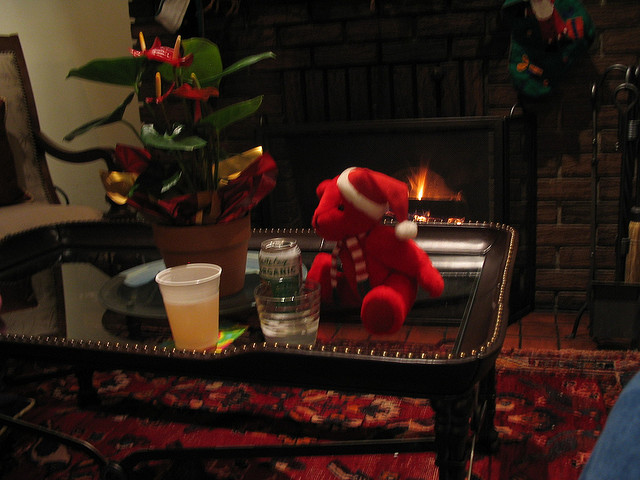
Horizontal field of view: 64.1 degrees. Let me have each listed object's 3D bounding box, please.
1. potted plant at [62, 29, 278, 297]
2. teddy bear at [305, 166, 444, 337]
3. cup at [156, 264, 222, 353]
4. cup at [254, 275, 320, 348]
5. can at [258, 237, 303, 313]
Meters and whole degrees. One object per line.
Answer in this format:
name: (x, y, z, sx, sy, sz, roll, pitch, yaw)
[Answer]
potted plant: (-0.452, -0.193, 1.299, 0.750, 0.565, 0.386, 12, 18, 40)
teddy bear: (0.108, 0.009, 1.162, 0.242, 0.391, 0.272, 9, 14, 32)
cup: (-0.261, 0.137, 1.022, 0.118, 0.136, 0.119, 3, 8, 0)
cup: (-0.066, 0.157, 1.042, 0.138, 0.128, 0.155, -5, 9, -13)
can: (-0.083, 0.085, 1.096, 0.090, 0.153, 0.088, -3, 12, 1)
